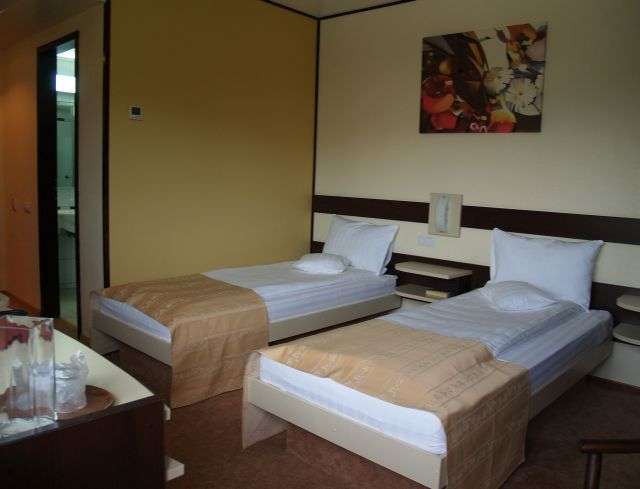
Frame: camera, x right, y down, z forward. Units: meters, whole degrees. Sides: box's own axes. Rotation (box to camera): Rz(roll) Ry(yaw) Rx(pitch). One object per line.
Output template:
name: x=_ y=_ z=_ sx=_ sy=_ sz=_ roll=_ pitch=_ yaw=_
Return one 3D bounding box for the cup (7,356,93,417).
cup: x=-0.977 y=0.510 z=1.755 sx=0.227 sy=0.191 sz=0.154 roll=0 pitch=0 yaw=31

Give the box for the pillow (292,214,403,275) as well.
pillow: x=0.413 y=-0.001 z=4.890 sx=0.660 sy=0.702 sz=0.201 roll=9 pitch=-14 yaw=43

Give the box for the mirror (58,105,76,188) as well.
mirror: x=-2.865 y=-1.108 z=5.495 sx=0.192 sy=0.878 sz=0.039 roll=11 pitch=14 yaw=10

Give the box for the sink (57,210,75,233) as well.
sink: x=-2.906 y=-0.276 z=5.520 sx=0.173 sy=0.233 sz=0.372 roll=-4 pitch=13 yaw=-32
